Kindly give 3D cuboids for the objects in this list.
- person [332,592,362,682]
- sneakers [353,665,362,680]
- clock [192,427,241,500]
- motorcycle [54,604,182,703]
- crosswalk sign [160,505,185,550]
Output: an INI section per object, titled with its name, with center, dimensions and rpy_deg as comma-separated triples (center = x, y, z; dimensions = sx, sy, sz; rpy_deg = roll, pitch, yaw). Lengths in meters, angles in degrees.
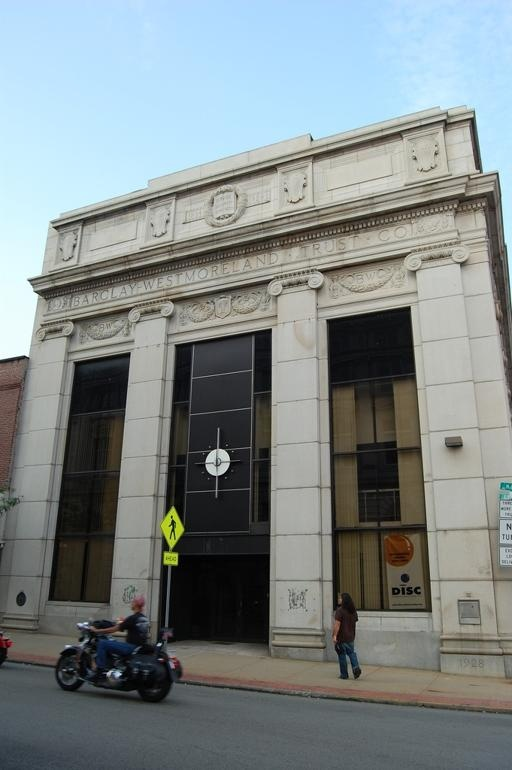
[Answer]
[person]
center = 1.858, 5.179, 10.905
dimensions = 0.488, 1.624, 2.024
rpy_deg = -3, -20, 9
[sneakers]
center = 1.997, 5.696, 10.431
dimensions = 0.142, 0.190, 0.423
rpy_deg = 0, -41, -2
[clock]
center = -1.132, 2.443, 15.880
dimensions = 1.634, 2.372, 0.187
rpy_deg = -13, -20, 33
[motorcycle]
center = -2.090, 3.941, 7.787
dimensions = 1.877, 1.252, 0.986
rpy_deg = 0, -16, 13
[crosswalk sign]
center = -1.994, 3.390, 12.543
dimensions = 0.476, 0.987, 1.162
rpy_deg = 3, -20, -8
